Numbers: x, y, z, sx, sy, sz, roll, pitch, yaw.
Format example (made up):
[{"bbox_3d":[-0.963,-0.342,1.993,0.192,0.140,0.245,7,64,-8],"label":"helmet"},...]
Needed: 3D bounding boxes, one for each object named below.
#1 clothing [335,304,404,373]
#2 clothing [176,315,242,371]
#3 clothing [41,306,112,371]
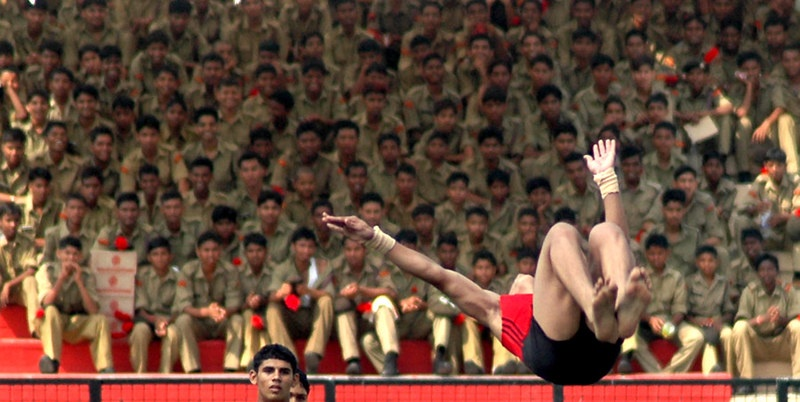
[{"bbox_3d":[-0.783,3.202,40.071,1.181,1.863,0.709,-4,1,10],"label":"clothing"},{"bbox_3d":[-4.588,3.391,40.294,1.599,1.422,0.562,-3,-7,-8],"label":"clothing"},{"bbox_3d":[-7.715,3.283,40.097,1.368,1.250,1.798,1,5,-7],"label":"clothing"}]
